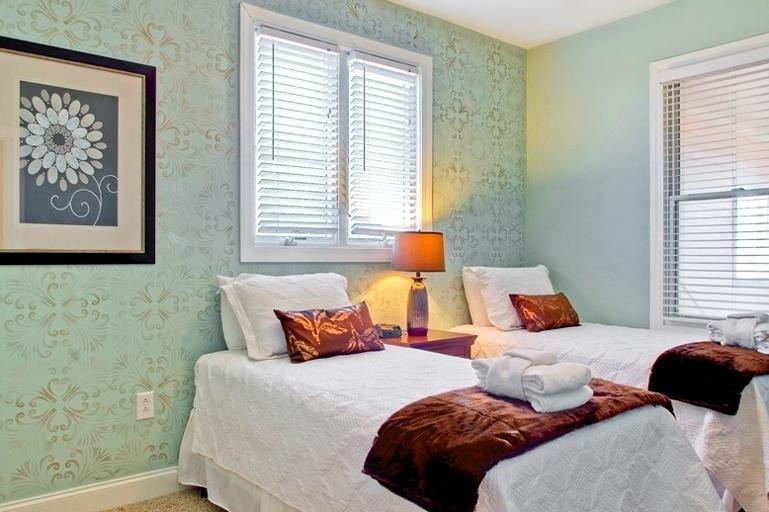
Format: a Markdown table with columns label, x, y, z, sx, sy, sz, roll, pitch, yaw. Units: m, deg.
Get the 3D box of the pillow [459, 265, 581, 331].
| label | x | y | z | sx | sy | sz | roll | pitch | yaw |
| --- | --- | --- | --- | --- | --- | --- | --- | --- | --- |
| pillow | 1.024 | 0.307 | 4.262 | 0.692 | 0.650 | 0.208 | 5 | -27 | -25 |
